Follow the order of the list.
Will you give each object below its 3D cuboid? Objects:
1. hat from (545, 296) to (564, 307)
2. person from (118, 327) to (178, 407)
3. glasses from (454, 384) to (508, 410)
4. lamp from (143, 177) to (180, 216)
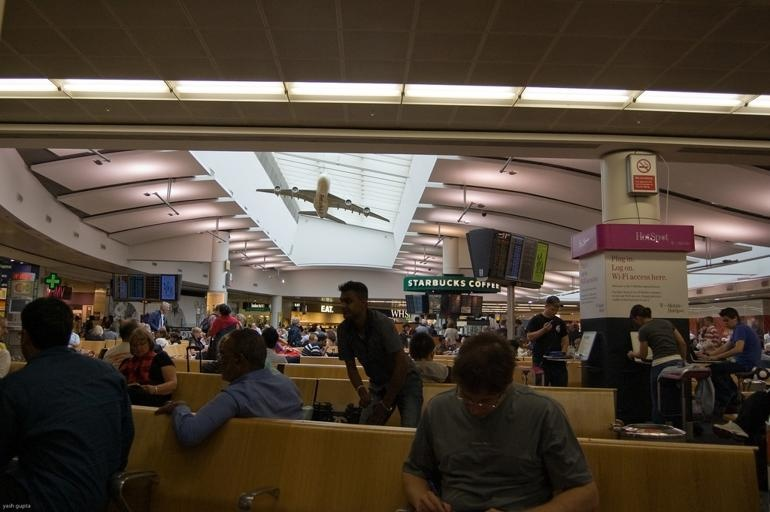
[{"bbox_3d":[3.255,0.873,9.611,0.243,0.197,0.434,-1,-9,13],"label":"hat"},{"bbox_3d":[-2.874,1.321,5.855,0.765,0.934,0.677,-10,-18,3],"label":"person"},{"bbox_3d":[0.578,0.883,3.018,0.178,0.172,0.085,8,-45,14],"label":"glasses"},{"bbox_3d":[-8.654,-2.223,19.413,1.040,0.506,4.386,4,-10,-18],"label":"lamp"}]
